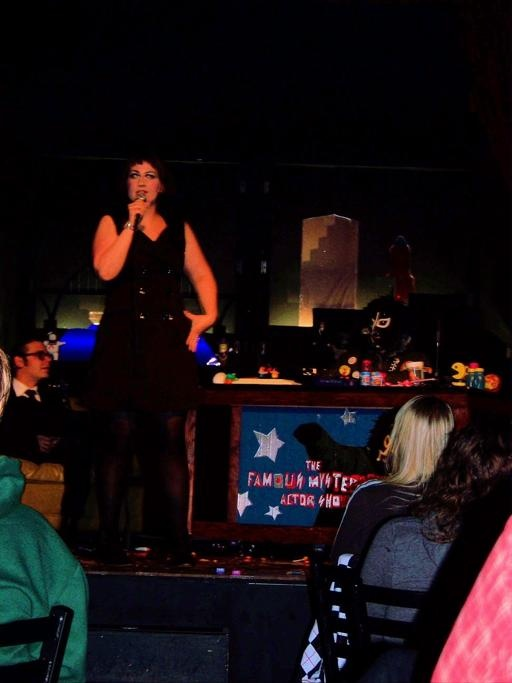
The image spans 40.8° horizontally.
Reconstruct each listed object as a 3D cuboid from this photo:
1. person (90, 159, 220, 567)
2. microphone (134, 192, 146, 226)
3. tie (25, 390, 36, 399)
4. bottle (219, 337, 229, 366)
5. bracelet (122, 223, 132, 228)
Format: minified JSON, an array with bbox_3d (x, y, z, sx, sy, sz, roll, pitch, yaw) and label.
[{"bbox_3d":[-0.559,0.050,3.729,0.676,2.149,0.535,3,3,-10],"label":"person"},{"bbox_3d":[-0.636,-0.730,3.800,0.048,0.191,0.056,1,-4,-3],"label":"microphone"},{"bbox_3d":[-1.238,0.292,3.789,0.057,0.016,0.041,26,55,4],"label":"tie"},{"bbox_3d":[-0.191,0.063,4.022,0.051,0.165,0.078,5,3,31],"label":"bottle"},{"bbox_3d":[-0.708,-0.639,3.781,0.029,0.022,0.070,-1,19,4],"label":"bracelet"}]
